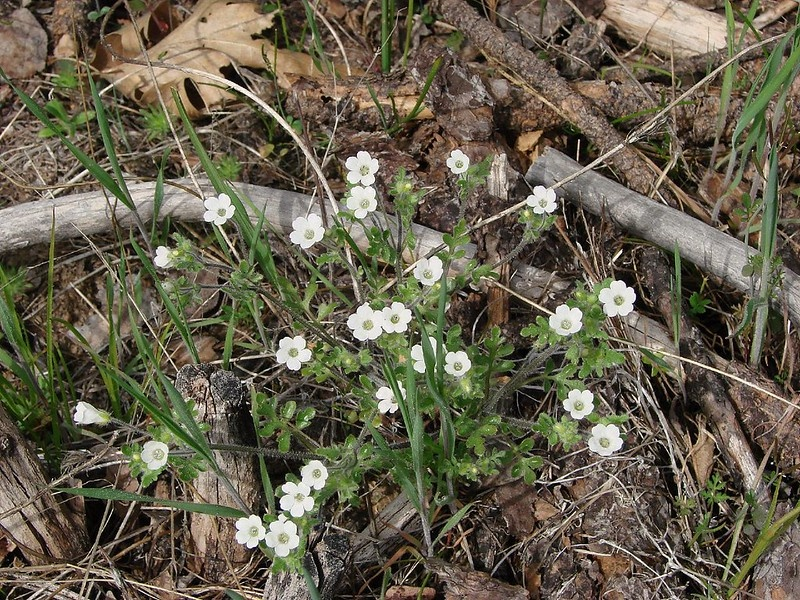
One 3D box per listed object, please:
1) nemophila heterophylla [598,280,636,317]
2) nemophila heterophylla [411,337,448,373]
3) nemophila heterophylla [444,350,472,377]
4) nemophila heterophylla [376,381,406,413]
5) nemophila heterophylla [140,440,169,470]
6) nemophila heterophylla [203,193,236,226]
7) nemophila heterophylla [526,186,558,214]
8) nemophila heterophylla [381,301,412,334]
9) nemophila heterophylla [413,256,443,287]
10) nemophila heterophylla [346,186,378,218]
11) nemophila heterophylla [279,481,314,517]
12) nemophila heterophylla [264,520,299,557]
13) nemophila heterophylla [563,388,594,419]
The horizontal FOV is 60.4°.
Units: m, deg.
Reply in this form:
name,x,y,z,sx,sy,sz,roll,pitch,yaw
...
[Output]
name,x,y,z,sx,sy,sz,roll,pitch,yaw
nemophila heterophylla,0.875,0.019,2.829,0.145,0.157,0.128,-7,59,-8
nemophila heterophylla,0.112,0.238,2.905,0.128,0.055,0.163,-14,91,27
nemophila heterophylla,0.248,0.285,2.948,0.116,0.131,0.095,2,57,-2
nemophila heterophylla,-0.053,0.412,2.941,0.078,0.198,0.119,-12,58,-10
nemophila heterophylla,-0.995,0.632,2.790,0.107,0.091,0.097,-1,59,-4
nemophila heterophylla,-0.827,-0.424,3.172,0.129,0.062,0.163,-17,76,-12
nemophila heterophylla,0.625,-0.445,3.084,0.118,0.047,0.153,-5,79,-9
nemophila heterophylla,-0.017,0.098,2.986,0.128,0.182,0.129,-6,58,-7
nemophila heterophylla,0.124,-0.106,3.035,0.116,0.248,0.122,1,56,-2
nemophila heterophylla,-0.166,-0.422,3.042,0.137,0.090,0.160,-5,61,-6
nemophila heterophylla,-0.417,0.828,2.845,0.134,0.135,0.131,-1,58,-4
nemophila heterophylla,-0.472,0.971,2.803,0.136,0.117,0.131,-25,64,-17
nemophila heterophylla,0.764,0.450,2.952,0.121,0.120,0.131,1,59,-3
